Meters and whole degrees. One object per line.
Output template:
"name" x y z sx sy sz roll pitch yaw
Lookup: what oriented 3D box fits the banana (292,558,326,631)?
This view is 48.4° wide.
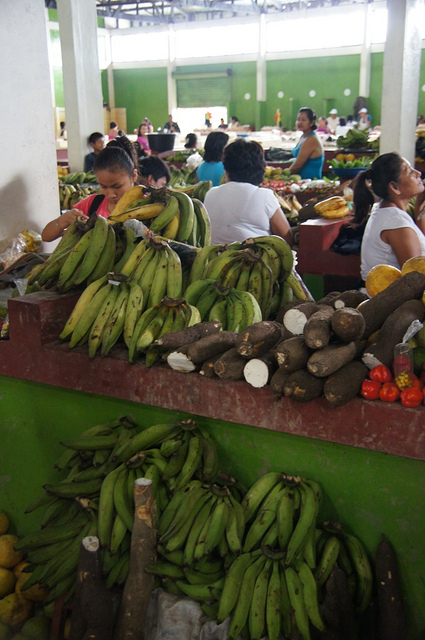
"banana" 0.252 0.704 1.267 0.058 0.045 0.214 -14 50 5

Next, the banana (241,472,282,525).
"banana" 0.150 0.531 1.395 0.179 0.063 0.048 -53 15 -20

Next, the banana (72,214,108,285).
"banana" -0.438 -0.260 1.755 0.073 0.335 0.114 13 14 7

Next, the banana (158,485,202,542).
"banana" -0.073 0.542 1.415 0.041 0.035 0.248 -33 13 50

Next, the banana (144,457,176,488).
"banana" -0.156 0.460 1.421 0.101 0.109 0.026 2 10 3

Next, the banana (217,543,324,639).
"banana" 0.160 0.732 1.309 0.230 0.261 0.085 12 -19 8

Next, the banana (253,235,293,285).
"banana" 0.255 -0.248 1.924 0.047 0.174 0.139 -5 9 25

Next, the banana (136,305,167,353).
"banana" -0.196 0.030 1.552 0.042 0.063 0.177 12 42 19

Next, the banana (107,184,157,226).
"banana" -0.407 -0.560 2.192 0.075 0.118 0.348 24 32 17

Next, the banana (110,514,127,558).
"banana" -0.275 0.628 1.382 0.033 0.135 0.048 14 -1 -21

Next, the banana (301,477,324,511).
"banana" 0.299 0.497 1.364 0.026 0.078 0.072 -52 10 -29

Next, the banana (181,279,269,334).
"banana" 0.043 -0.052 1.678 0.188 0.125 0.249 -40 52 -13

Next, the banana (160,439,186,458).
"banana" -0.116 0.392 1.466 0.073 0.035 0.044 -20 -4 2

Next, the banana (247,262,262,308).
"banana" 0.167 -0.133 1.790 0.043 0.162 0.057 -4 8 -27

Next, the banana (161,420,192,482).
"banana" -0.107 0.413 1.462 0.040 0.188 0.067 33 -19 -26

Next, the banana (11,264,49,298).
"banana" -0.792 -0.169 2.061 0.053 0.078 0.217 26 50 0

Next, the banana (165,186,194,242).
"banana" -0.163 -0.407 1.930 0.062 0.143 0.262 22 1 9

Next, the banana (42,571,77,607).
"banana" -0.474 0.842 1.478 0.105 0.088 0.052 -10 23 -21

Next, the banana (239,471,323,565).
"banana" 0.200 0.542 1.343 0.205 0.229 0.080 21 -6 24

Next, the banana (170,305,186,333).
"banana" -0.109 0.000 1.594 0.045 0.026 0.127 3 50 -4

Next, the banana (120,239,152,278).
"banana" -0.284 -0.232 1.798 0.039 0.066 0.194 0 52 58

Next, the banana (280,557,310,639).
"banana" 0.218 0.715 1.223 0.041 0.032 0.183 -26 47 13

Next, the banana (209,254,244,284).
"banana" 0.054 -0.197 1.802 0.130 0.099 0.040 -7 22 -12

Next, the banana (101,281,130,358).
"banana" -0.321 -0.006 1.694 0.063 0.093 0.268 27 61 -14

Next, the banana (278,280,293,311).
"banana" 0.317 -0.098 2.036 0.049 0.134 0.037 -17 26 -37

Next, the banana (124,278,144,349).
"banana" -0.244 -0.017 1.639 0.050 0.076 0.228 13 60 -9

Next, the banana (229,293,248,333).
"banana" 0.088 -0.003 1.639 0.061 0.174 0.032 -3 41 12

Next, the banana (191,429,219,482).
"banana" -0.024 0.425 1.474 0.096 0.045 0.170 33 32 -24

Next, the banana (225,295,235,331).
"banana" 0.056 -0.023 1.652 0.025 0.117 0.040 12 -26 -24

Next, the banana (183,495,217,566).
"banana" -0.044 0.600 1.381 0.045 0.043 0.214 14 49 24

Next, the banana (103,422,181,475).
"banana" -0.226 0.412 1.536 0.318 0.082 0.060 -24 11 12

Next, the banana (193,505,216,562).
"banana" -0.007 0.611 1.324 0.021 0.033 0.122 39 49 -6

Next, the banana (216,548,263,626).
"banana" 0.062 0.713 1.324 0.046 0.084 0.235 -19 29 49

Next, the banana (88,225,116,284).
"banana" -0.419 -0.249 1.785 0.048 0.227 0.080 22 13 20
